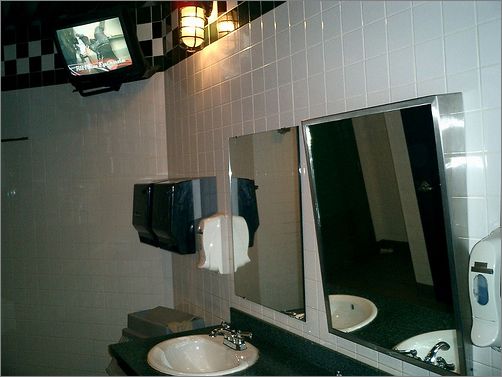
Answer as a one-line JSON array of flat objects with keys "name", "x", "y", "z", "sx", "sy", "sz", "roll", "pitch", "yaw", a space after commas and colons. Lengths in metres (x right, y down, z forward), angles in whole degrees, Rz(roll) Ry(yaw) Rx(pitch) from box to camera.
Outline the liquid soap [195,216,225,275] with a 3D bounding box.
[{"name": "liquid soap", "x": -0.282, "y": 0.399, "z": 2.984, "sx": 0.202, "sy": 0.425, "sz": 0.129, "roll": -4, "pitch": 2, "yaw": -45}]

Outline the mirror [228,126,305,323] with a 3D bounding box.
[{"name": "mirror", "x": 0.079, "y": 0.192, "z": 2.636, "sx": 0.062, "sy": 1.094, "sz": 0.669, "roll": -3, "pitch": 2, "yaw": -37}]

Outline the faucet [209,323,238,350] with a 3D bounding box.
[{"name": "faucet", "x": -0.157, "y": 0.901, "z": 2.611, "sx": 0.103, "sy": 0.061, "sz": 0.167, "roll": 2, "pitch": -6, "yaw": -17}]

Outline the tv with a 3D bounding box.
[{"name": "tv", "x": -1.172, "y": -1.062, "z": 3.291, "sx": 0.675, "sy": 0.491, "sz": 0.283, "roll": -2, "pitch": 2, "yaw": 23}]

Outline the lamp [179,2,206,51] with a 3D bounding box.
[{"name": "lamp", "x": -0.387, "y": -1.101, "z": 2.984, "sx": 0.228, "sy": 0.368, "sz": 0.244, "roll": 1, "pitch": 3, "yaw": -2}]
